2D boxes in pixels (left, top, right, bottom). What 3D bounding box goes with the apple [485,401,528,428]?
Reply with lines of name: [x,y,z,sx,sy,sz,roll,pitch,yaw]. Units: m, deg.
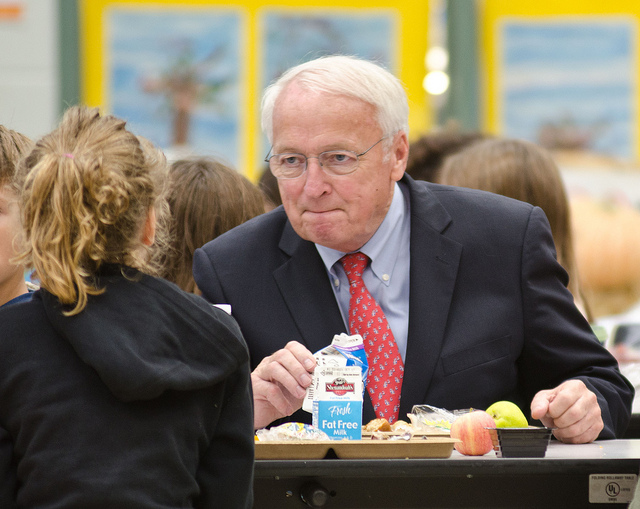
apple: [0.660,0.579,3.546,0.107,0.096,0.095,1,40,-28]

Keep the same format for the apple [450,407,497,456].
apple: [0.526,0.632,3.477,0.165,0.158,0.166,-8,-11,24]

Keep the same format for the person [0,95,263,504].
person: [-0.604,0.167,3.111,0.774,1.233,0.464,-1,8,-5]

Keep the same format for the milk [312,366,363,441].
milk: [0.067,0.500,3.463,0.171,0.292,0.099,1,20,4]
